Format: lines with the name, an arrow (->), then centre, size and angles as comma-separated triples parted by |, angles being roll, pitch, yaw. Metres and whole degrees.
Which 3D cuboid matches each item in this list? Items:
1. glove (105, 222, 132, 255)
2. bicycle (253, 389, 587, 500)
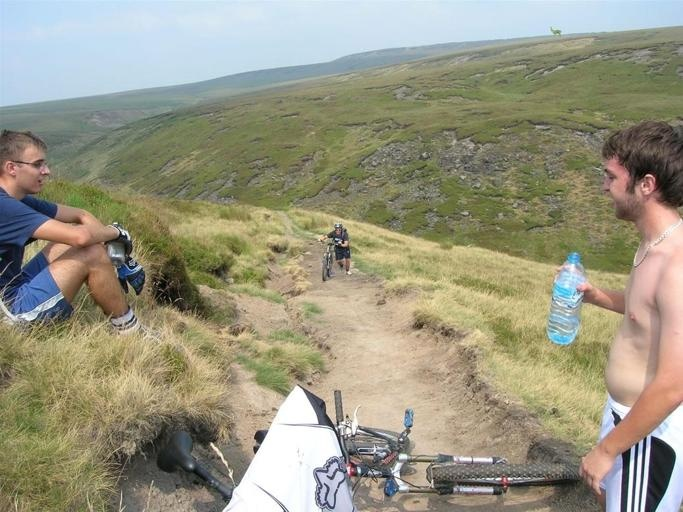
glove -> -2.610, -0.182, 6.310 | 0.171, 0.225, 0.507 | -40, -14, -10
bicycle -> 1.085, 2.253, 6.132 | 2.608, 1.265, 1.498 | 6, -10, -31
